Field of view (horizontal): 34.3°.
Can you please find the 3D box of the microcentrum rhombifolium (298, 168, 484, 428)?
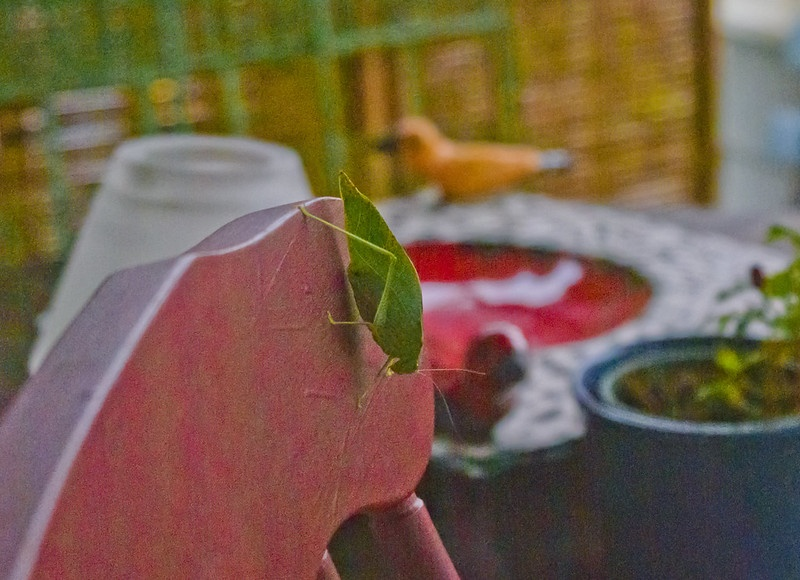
[{"bbox_3d":[-0.013,-0.005,1.035,0.072,0.196,0.072,-12,16,4],"label":"microcentrum rhombifolium"}]
